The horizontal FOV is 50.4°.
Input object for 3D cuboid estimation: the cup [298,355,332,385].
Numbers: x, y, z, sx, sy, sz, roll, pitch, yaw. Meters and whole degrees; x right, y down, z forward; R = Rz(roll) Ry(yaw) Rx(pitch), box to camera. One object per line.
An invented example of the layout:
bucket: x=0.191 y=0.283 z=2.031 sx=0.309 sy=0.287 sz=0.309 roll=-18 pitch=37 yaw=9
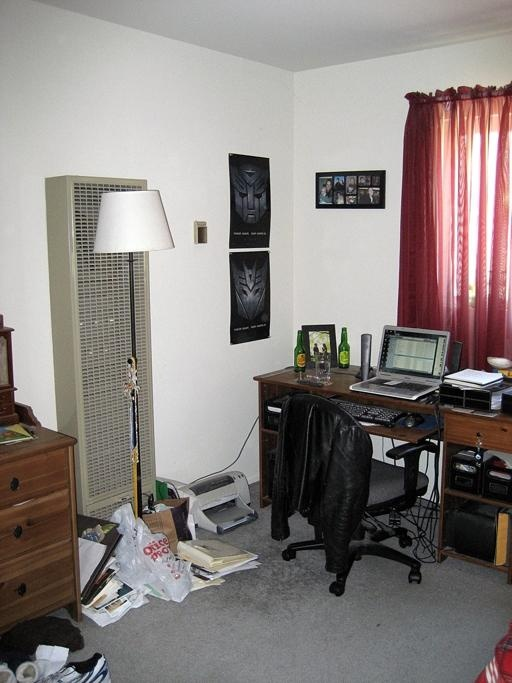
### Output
cup: x=0.355 y=0.170 z=3.310 sx=0.186 sy=0.205 sz=0.150 roll=2 pitch=6 yaw=30

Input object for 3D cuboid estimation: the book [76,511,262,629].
book: x=-0.418 y=0.929 z=2.457 sx=0.753 sy=0.355 sz=0.370 roll=-2 pitch=3 yaw=-31

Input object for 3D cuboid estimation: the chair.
chair: x=0.450 y=0.622 z=2.535 sx=0.685 sy=0.909 sz=0.583 roll=-12 pitch=16 yaw=-40

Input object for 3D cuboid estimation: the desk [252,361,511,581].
desk: x=0.637 y=0.629 z=2.588 sx=0.269 sy=0.537 sz=0.818 roll=-9 pitch=13 yaw=-44

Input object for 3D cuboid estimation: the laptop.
laptop: x=0.762 y=0.122 z=2.897 sx=0.298 sy=0.453 sz=0.412 roll=12 pitch=1 yaw=-45

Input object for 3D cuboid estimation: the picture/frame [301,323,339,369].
picture/frame: x=0.411 y=0.035 z=3.574 sx=0.237 sy=0.360 sz=0.027 roll=-2 pitch=0 yaw=5

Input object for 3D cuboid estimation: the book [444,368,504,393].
book: x=1.046 y=0.183 z=2.570 sx=0.311 sy=0.060 sz=0.174 roll=-2 pitch=3 yaw=-23

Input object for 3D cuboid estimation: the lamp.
lamp: x=-0.545 y=0.077 z=2.402 sx=0.318 sy=1.527 sz=0.481 roll=-1 pitch=2 yaw=-20
